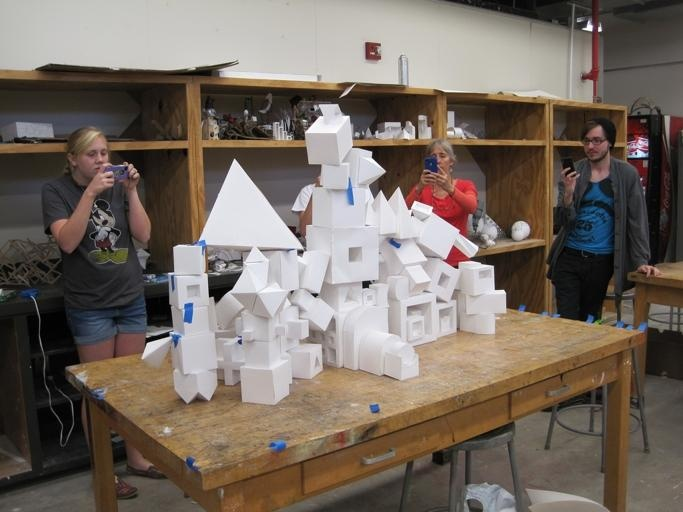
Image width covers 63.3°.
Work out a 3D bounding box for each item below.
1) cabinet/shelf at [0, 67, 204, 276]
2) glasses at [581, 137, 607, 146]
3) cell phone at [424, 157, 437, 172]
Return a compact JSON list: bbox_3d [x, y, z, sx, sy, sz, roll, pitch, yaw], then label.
[{"bbox_3d":[-1.515,-0.541,3.433,1.310,1.277,0.421,-4,11,-30],"label":"cabinet/shelf"},{"bbox_3d":[1.791,-0.805,3.852,0.192,0.078,0.085,2,15,14],"label":"glasses"},{"bbox_3d":[0.634,-0.640,3.889,0.076,0.103,0.049,1,14,9],"label":"cell phone"}]
